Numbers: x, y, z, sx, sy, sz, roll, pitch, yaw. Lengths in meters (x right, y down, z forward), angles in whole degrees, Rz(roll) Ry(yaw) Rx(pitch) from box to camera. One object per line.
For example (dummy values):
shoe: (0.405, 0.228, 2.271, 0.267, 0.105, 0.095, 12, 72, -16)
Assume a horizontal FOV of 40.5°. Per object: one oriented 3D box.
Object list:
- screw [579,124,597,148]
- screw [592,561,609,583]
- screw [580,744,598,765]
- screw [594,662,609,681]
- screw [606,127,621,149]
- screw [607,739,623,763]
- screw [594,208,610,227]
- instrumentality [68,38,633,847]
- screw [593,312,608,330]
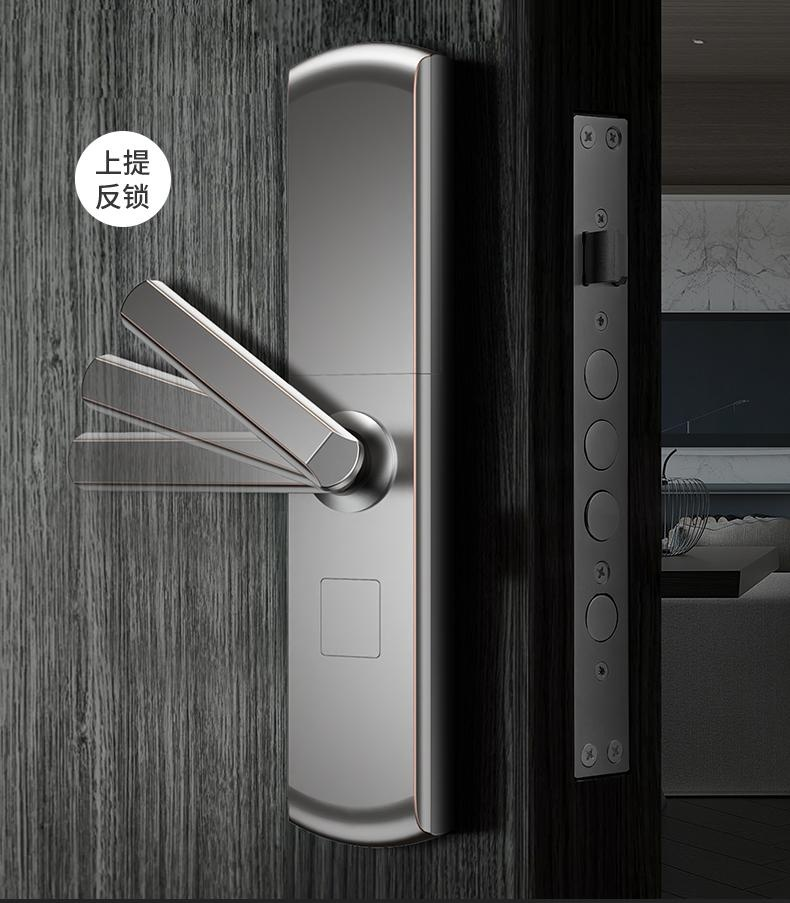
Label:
screw: (0.103, -0.168, 0.574, 0.011, 0.018, 0.003, 0, -5, -13)
screw: (0.111, 0.066, 0.580, 0.009, 0.015, 0.001, 0, -2, -27)
screw: (0.105, 0.165, 0.582, 0.010, 0.012, 0.004, 4, -11, -27)
screw: (0.111, 0.119, 0.580, 0.008, 0.013, 0.002, 0, -1, -10)
screw: (0.117, -0.168, 0.579, 0.009, 0.017, 0.003, 1, -4, -14)
screw: (0.120, 0.164, 0.587, 0.010, 0.015, 0.002, -3, 4, -37)
screw: (0.110, -0.124, 0.573, 0.008, 0.012, 0.001, 0, -4, -17)
instrumentality: (-0.027, -0.002, 0.613, 0.098, 0.448, 0.255, 3, 5, 34)
screw: (0.110, -0.070, 0.577, 0.008, 0.013, 0.001, 0, 0, -11)
